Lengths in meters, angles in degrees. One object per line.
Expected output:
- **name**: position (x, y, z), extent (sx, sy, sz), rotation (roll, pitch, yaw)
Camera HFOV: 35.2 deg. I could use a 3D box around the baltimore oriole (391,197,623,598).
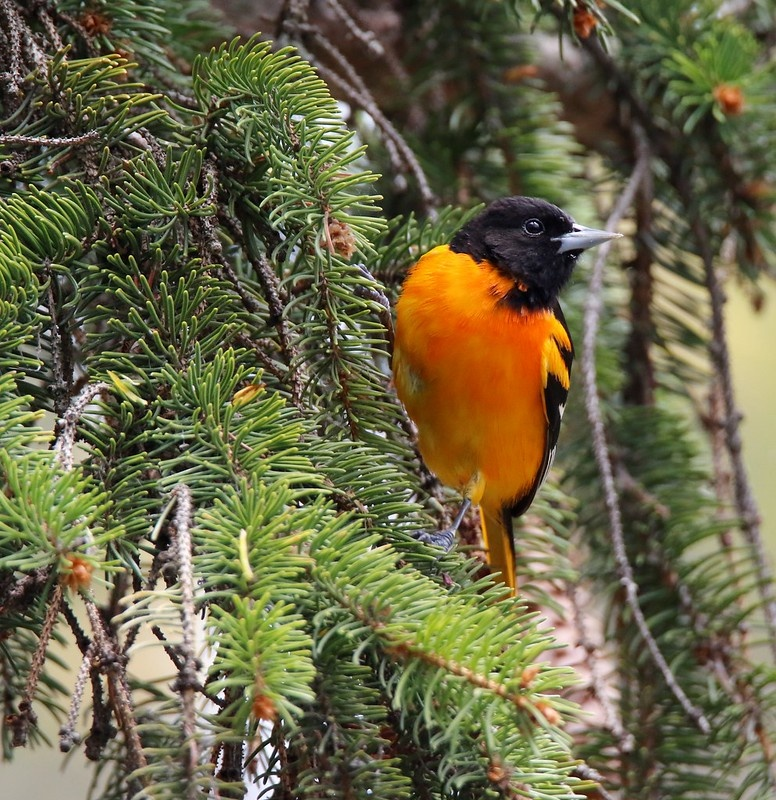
- **baltimore oriole**: position (0.442, 0.078, 4.657), extent (0.560, 1.013, 1.670), rotation (18, -28, 3)
